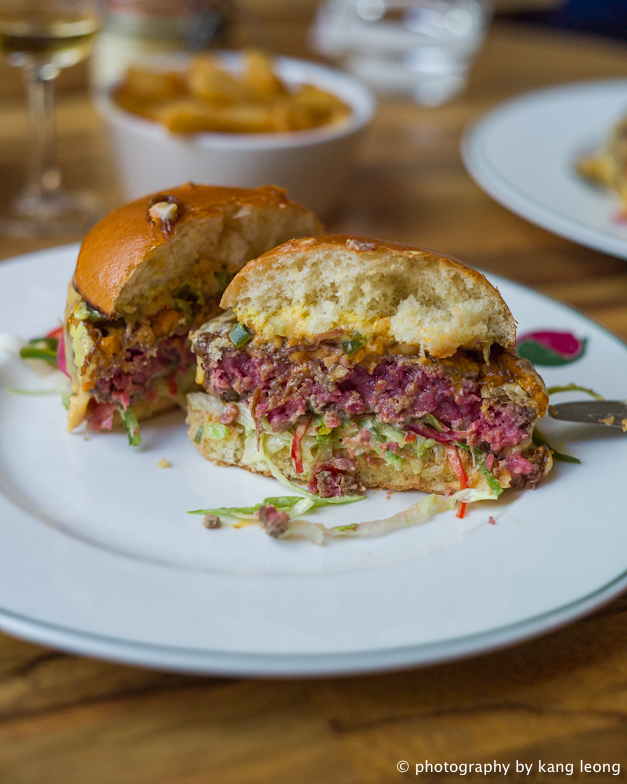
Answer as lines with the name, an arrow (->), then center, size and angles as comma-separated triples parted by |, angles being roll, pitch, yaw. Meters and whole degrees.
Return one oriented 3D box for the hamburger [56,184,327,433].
hamburger -> -0.342, -0.217, 2.383 | 0.802, 0.513, 0.403 | -20, 39, -29
